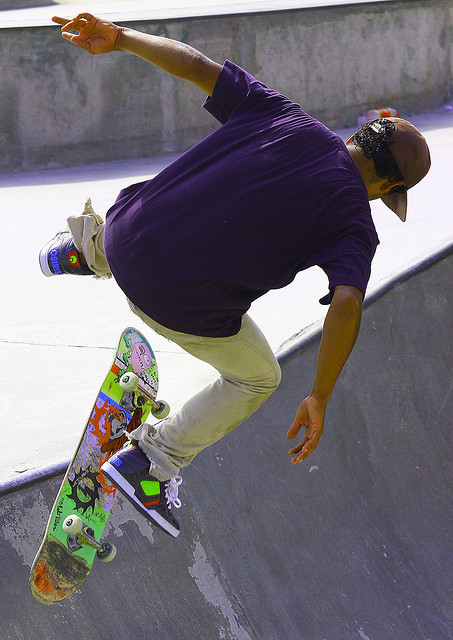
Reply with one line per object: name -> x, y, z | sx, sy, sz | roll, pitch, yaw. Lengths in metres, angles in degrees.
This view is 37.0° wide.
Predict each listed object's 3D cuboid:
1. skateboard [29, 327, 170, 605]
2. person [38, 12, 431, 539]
skateboard -> -0.525, 0.582, 2.911 | 0.186, 0.326, 1.162 | -5, 49, 47
person -> -0.068, -0.006, 2.477 | 0.741, 1.836, 1.437 | -17, 36, -34
